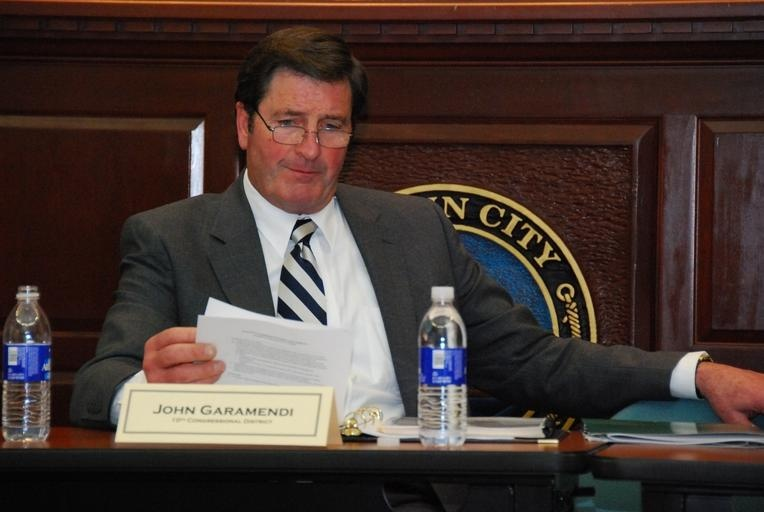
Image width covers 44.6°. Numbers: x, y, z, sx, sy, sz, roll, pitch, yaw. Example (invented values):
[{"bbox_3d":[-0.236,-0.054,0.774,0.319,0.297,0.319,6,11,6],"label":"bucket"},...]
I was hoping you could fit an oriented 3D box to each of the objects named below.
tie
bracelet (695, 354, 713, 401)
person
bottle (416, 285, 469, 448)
[{"bbox_3d":[-0.268,0.045,3.073,0.163,0.365,0.144,3,-12,-14],"label":"tie"},{"bbox_3d":[0.970,0.358,2.803,0.050,0.112,0.099,-9,-5,32],"label":"bracelet"},{"bbox_3d":[-0.201,-0.108,3.024,2.023,1.047,1.369,-3,-3,43],"label":"person"},{"bbox_3d":[0.165,0.284,2.514,0.130,0.441,0.277,-1,-11,4],"label":"bottle"}]
